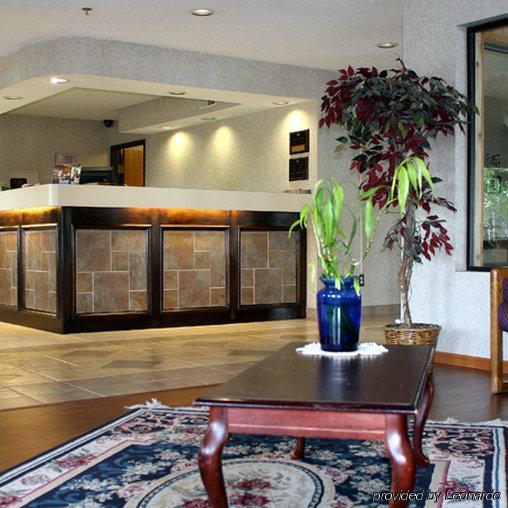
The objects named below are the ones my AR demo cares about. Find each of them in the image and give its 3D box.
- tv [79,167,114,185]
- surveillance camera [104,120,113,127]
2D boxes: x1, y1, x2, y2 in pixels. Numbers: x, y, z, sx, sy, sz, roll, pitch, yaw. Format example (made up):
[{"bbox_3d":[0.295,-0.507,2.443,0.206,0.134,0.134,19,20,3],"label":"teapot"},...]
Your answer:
[{"bbox_3d":[-2.009,-1.013,6.118,0.548,0.267,0.468,0,3,-8],"label":"tv"},{"bbox_3d":[-3.486,-3.109,11.031,0.153,0.120,0.174,3,-1,44],"label":"surveillance camera"}]
